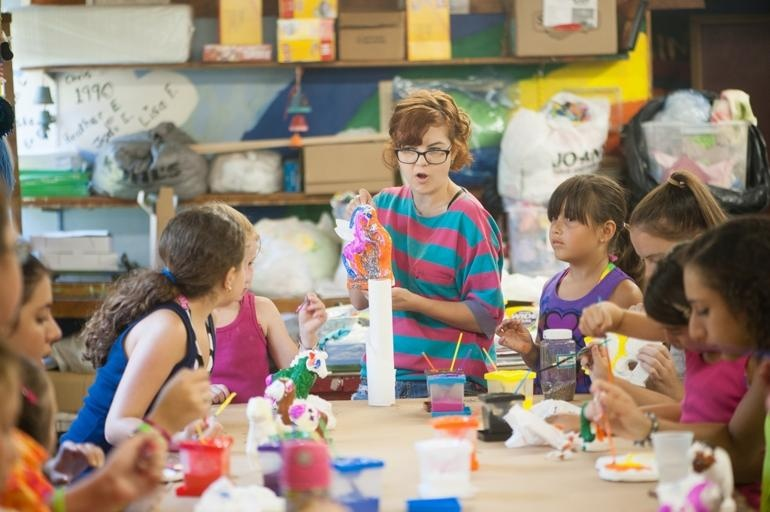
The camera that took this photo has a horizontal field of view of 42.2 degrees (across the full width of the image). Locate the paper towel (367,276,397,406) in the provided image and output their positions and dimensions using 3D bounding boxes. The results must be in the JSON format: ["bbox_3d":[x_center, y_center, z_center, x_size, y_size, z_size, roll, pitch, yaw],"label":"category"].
[{"bbox_3d":[-0.024,0.348,4.123,0.116,0.519,0.171,-1,5,-1],"label":"paper towel"}]

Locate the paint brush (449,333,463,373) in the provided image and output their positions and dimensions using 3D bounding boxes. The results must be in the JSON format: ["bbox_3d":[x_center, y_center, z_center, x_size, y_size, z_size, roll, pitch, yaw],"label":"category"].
[{"bbox_3d":[0.299,0.411,4.265,0.017,0.161,0.017,14,-14,26],"label":"paint brush"}]

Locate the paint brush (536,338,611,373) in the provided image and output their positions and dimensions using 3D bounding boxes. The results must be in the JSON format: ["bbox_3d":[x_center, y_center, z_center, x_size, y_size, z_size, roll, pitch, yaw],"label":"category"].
[{"bbox_3d":[0.755,0.401,4.001,0.354,0.113,0.047,-23,28,-31],"label":"paint brush"}]

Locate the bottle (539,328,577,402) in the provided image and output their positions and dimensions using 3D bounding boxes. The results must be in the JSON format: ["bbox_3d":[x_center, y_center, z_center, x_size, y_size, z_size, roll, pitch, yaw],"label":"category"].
[{"bbox_3d":[0.710,0.448,4.122,0.173,0.295,0.180,-5,6,1],"label":"bottle"}]

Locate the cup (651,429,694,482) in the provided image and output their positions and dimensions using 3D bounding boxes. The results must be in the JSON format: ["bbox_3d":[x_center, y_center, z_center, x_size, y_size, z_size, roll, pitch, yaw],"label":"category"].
[{"bbox_3d":[0.966,0.670,3.385,0.149,0.174,0.156,-3,-1,0],"label":"cup"}]

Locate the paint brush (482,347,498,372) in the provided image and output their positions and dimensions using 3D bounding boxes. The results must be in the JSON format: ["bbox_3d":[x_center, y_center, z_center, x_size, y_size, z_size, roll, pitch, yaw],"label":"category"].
[{"bbox_3d":[0.465,0.442,4.360,0.047,0.111,0.070,-16,-12,-8],"label":"paint brush"}]

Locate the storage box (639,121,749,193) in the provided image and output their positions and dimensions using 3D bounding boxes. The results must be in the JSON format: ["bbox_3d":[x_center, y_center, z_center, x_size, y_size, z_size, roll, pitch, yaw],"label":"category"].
[{"bbox_3d":[1.831,-0.611,5.820,0.476,0.323,0.475,5,26,15],"label":"storage box"}]

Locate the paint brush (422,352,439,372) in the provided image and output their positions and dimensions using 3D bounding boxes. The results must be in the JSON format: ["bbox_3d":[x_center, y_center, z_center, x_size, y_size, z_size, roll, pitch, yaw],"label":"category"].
[{"bbox_3d":[0.190,0.452,4.250,0.063,0.065,0.063,15,35,-38],"label":"paint brush"}]

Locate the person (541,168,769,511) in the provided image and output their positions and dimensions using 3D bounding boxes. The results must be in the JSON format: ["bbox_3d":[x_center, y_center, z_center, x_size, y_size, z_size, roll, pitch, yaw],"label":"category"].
[{"bbox_3d":[1.075,0.123,3.924,0.399,1.172,0.801,5,-17,-41],"label":"person"}]

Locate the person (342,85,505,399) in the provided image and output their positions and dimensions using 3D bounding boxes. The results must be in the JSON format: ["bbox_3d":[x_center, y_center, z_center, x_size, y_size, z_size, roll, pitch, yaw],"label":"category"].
[{"bbox_3d":[0.182,-0.062,4.388,0.666,1.341,0.566,1,5,11],"label":"person"}]

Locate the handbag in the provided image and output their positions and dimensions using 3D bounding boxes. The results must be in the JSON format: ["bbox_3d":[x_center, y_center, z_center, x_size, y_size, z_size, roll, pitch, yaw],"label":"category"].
[{"bbox_3d":[1.006,-0.653,6.044,0.541,0.717,0.274,13,-5,-24],"label":"handbag"}]

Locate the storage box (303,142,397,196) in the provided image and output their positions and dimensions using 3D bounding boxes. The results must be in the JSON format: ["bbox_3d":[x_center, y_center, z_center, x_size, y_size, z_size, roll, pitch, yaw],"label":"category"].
[{"bbox_3d":[-0.300,-0.523,6.338,0.521,0.308,0.332,13,-2,1],"label":"storage box"}]
